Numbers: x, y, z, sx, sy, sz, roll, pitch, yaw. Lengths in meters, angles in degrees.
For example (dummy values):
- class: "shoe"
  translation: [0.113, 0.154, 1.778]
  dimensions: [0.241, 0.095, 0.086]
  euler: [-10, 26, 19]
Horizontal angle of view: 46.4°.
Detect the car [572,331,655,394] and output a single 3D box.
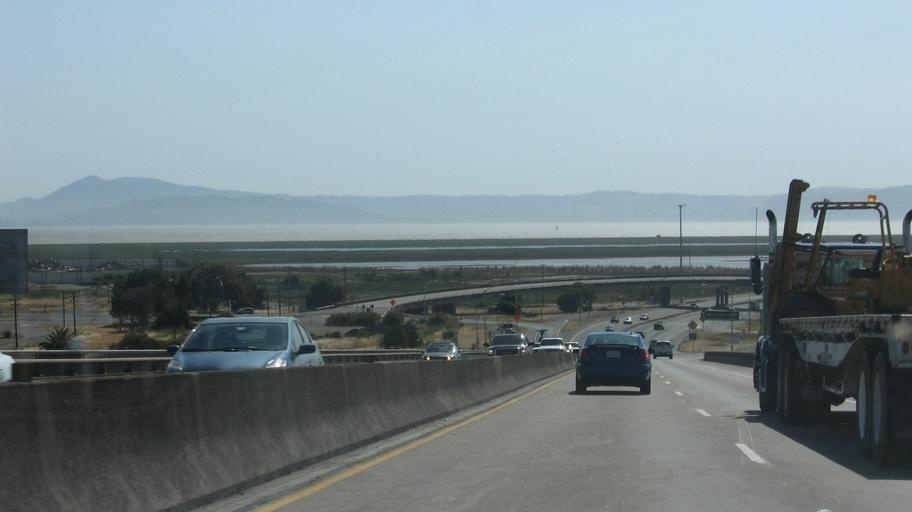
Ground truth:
- class: "car"
  translation: [5.198, 3.606, 35.062]
  dimensions: [2.398, 1.913, 1.110]
  euler: [-1, 2, 0]
